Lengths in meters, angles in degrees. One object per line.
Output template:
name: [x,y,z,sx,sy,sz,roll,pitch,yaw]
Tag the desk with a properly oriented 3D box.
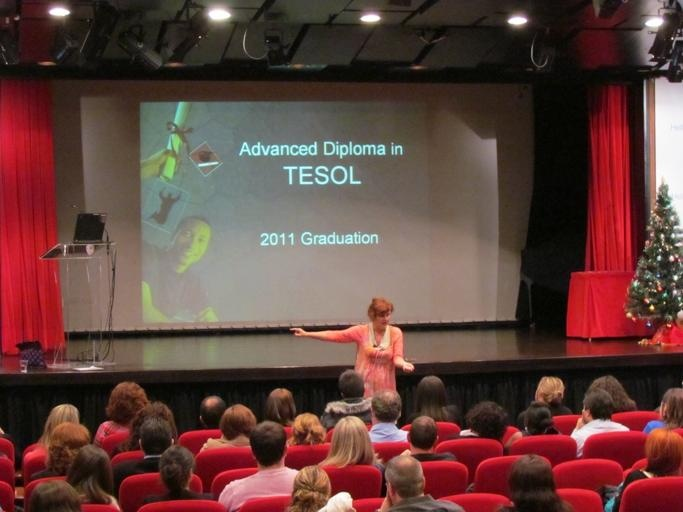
desk: [3.807,0.724,11.198,1.253,1.089,0.820,0,-6,-5]
